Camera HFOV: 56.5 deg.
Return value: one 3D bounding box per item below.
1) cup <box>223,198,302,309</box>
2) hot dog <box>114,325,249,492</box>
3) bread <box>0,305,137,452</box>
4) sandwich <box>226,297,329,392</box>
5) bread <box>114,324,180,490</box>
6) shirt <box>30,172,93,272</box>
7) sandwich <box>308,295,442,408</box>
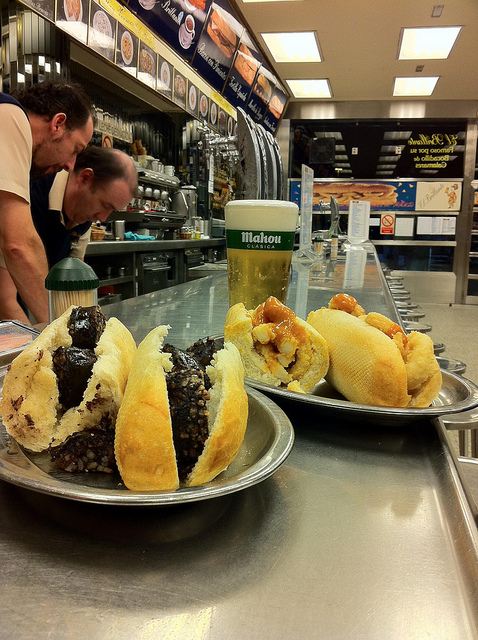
[{"bbox_3d":[0.040,-0.132,0.860,0.146,0.215,0.197,6,12,17],"label":"cup"},{"bbox_3d":[-0.038,0.059,0.320,0.086,0.100,0.099,2,11,1],"label":"hot dog"},{"bbox_3d":[-0.137,0.039,0.386,0.076,0.050,0.123,31,27,-13],"label":"bread"},{"bbox_3d":[0.048,0.013,0.580,0.129,0.076,0.193,3,16,0],"label":"sandwich"},{"bbox_3d":[-0.067,0.054,0.345,0.053,0.069,0.161,11,19,-16],"label":"bread"},{"bbox_3d":[-0.999,-0.535,2.355,0.119,0.477,0.308,1,12,-8],"label":"shirt"},{"bbox_3d":[0.146,0.036,0.513,0.123,0.103,0.243,2,11,-3],"label":"sandwich"}]
